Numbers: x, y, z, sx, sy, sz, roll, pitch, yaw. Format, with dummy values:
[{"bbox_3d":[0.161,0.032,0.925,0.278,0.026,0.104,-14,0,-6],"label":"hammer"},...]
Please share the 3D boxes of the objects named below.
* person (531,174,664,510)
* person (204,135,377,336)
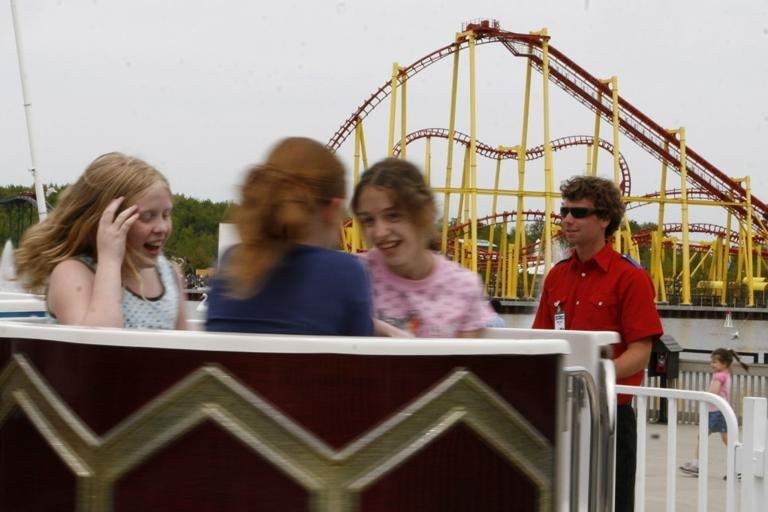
[{"bbox_3d":[1.249,0.477,7.197,0.516,1.687,0.833,1,0,-32],"label":"person"},{"bbox_3d":[-0.454,-0.051,5.770,0.791,0.959,0.712,3,-4,-18],"label":"person"}]
